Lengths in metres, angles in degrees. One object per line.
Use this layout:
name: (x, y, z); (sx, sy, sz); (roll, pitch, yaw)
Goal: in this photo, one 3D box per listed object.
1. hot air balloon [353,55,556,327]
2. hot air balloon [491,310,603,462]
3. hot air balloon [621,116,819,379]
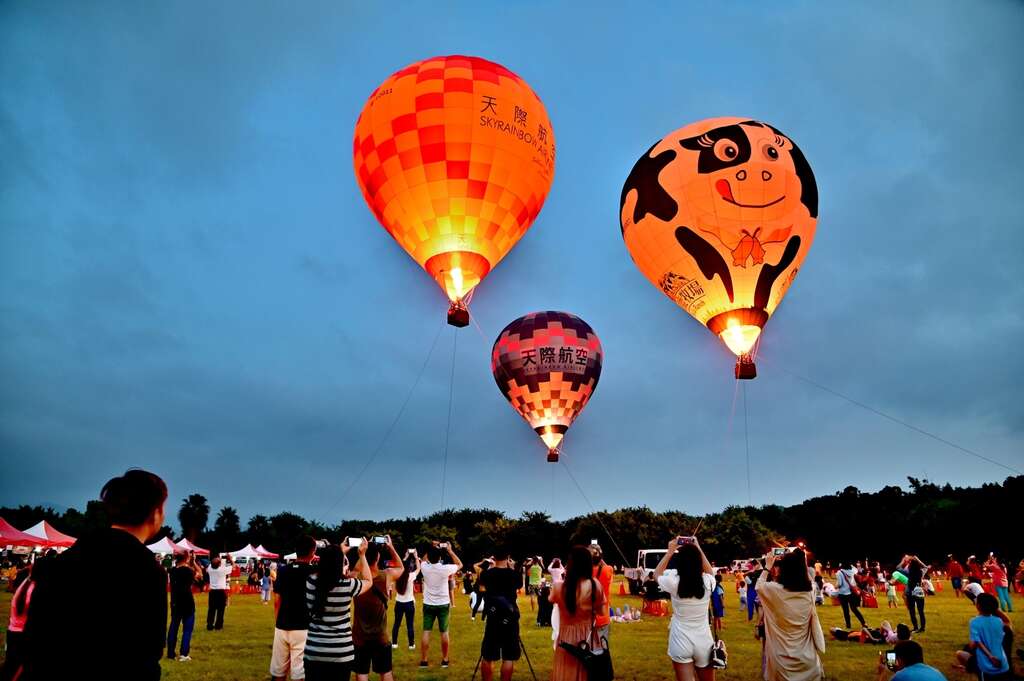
hot air balloon: (-1.255, -3.308, 19.308); (3.952, 5.496, 2.149); (4, -25, -6)
hot air balloon: (1.092, 1.372, 27.084); (3.638, 5.244, 3.867); (-1, -25, -1)
hot air balloon: (4.760, -2.489, 19.450); (3.949, 5.635, 3.794); (-2, -27, 2)
